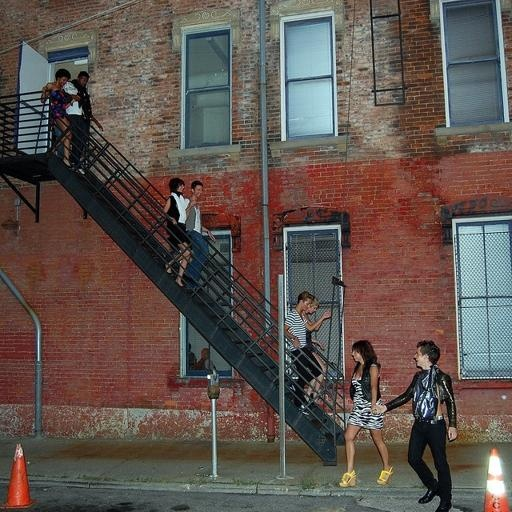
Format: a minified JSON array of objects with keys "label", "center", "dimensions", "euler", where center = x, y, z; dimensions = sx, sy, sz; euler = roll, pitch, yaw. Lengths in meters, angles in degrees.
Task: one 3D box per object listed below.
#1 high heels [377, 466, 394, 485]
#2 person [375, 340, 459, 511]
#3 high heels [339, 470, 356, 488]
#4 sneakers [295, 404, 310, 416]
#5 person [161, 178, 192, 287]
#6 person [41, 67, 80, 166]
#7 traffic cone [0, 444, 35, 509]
[{"label":"high heels","center":[1.718,2.899,13.721],"dimensions":[0.113,0.133,0.312],"euler":[-6,7,32]},{"label":"person","center":[2.122,2.124,13.020],"dimensions":[0.803,2.115,0.793],"euler":[-4,-9,7]},{"label":"high heels","center":[1.214,2.941,13.632],"dimensions":[0.113,0.127,0.316],"euler":[-5,-10,29]},{"label":"sneakers","center":[0.680,2.174,14.624],"dimensions":[0.140,0.065,0.201],"euler":[5,10,-8]},{"label":"person","center":[-1.207,-0.389,15.835],"dimensions":[0.390,1.831,1.544],"euler":[-2,-9,-5]},{"label":"person","center":[-3.152,-2.270,16.613],"dimensions":[0.583,1.702,1.361],"euler":[-1,-9,-10]},{"label":"traffic cone","center":[-3.112,2.828,13.372],"dimensions":[0.382,0.803,0.724],"euler":[-1,-9,-13]}]
